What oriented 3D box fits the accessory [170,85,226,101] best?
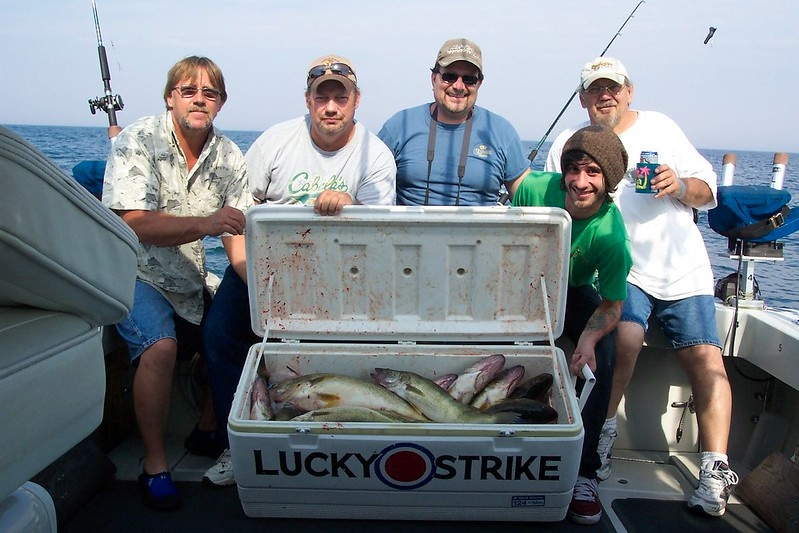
[{"bbox_3d":[-1.396,-1.189,4.034,0.278,0.094,0.092,-7,14,-23],"label":"accessory"}]

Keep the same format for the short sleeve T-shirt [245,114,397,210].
[{"bbox_3d":[-0.582,-0.729,4.251,0.973,0.814,0.463,5,26,-3],"label":"short sleeve T-shirt"}]

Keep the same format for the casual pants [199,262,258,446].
[{"bbox_3d":[-1.205,0.543,4.106,0.352,1.458,0.297,2,0,-13],"label":"casual pants"}]

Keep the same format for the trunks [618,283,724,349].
[{"bbox_3d":[2.076,0.408,4.488,0.370,0.451,0.774,-8,11,-30],"label":"trunks"}]

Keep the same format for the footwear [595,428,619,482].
[{"bbox_3d":[1.497,1.367,4.227,0.147,0.315,0.466,2,51,17],"label":"footwear"}]

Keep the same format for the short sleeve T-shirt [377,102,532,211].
[{"bbox_3d":[0.418,-0.871,4.813,1.232,1.221,0.665,4,11,0],"label":"short sleeve T-shirt"}]

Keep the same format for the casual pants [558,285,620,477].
[{"bbox_3d":[1.337,0.809,4.098,0.297,1.421,0.470,-9,-11,33],"label":"casual pants"}]

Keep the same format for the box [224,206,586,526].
[{"bbox_3d":[0.032,0.546,3.531,2.036,1.640,1.180,3,22,4],"label":"box"}]

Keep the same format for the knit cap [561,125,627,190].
[{"bbox_3d":[1.315,-0.720,3.916,0.327,0.445,0.365,9,58,47],"label":"knit cap"}]

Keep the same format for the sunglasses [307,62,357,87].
[{"bbox_3d":[-0.483,-1.364,4.152,0.338,0.157,0.125,-3,13,-8],"label":"sunglasses"}]

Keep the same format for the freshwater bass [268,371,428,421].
[{"bbox_3d":[-0.318,0.836,3.765,1.000,0.281,0.260,7,-10,-5],"label":"freshwater bass"}]

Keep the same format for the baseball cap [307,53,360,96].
[{"bbox_3d":[-0.501,-1.416,4.254,0.341,0.283,0.513,-2,10,-8],"label":"baseball cap"}]

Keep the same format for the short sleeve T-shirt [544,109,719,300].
[{"bbox_3d":[1.631,-0.368,4.127,1.146,1.383,0.724,-12,-2,12],"label":"short sleeve T-shirt"}]
